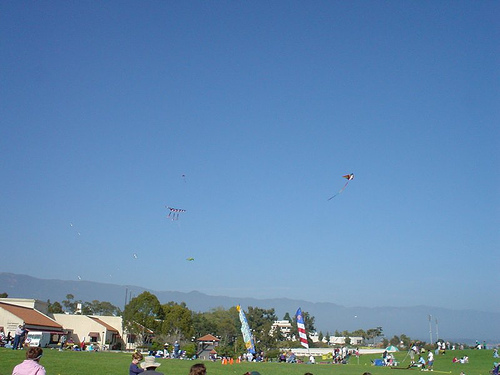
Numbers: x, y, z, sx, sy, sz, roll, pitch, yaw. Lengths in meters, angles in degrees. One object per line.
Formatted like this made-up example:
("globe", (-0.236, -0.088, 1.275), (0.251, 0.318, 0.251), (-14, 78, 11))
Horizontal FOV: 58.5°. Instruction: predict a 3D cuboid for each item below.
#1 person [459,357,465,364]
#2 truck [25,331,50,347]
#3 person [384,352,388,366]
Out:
("person", (26.275, 21.344, 55.315), (0.516, 0.963, 2.797), (-7, -27, 22))
("truck", (-24.783, 17.573, 52.183), (2.330, 2.181, 6.795), (14, -27, -21))
("person", (17.790, 22.539, 58.482), (0.498, 1.173, 1.699), (-3, -25, 15))
